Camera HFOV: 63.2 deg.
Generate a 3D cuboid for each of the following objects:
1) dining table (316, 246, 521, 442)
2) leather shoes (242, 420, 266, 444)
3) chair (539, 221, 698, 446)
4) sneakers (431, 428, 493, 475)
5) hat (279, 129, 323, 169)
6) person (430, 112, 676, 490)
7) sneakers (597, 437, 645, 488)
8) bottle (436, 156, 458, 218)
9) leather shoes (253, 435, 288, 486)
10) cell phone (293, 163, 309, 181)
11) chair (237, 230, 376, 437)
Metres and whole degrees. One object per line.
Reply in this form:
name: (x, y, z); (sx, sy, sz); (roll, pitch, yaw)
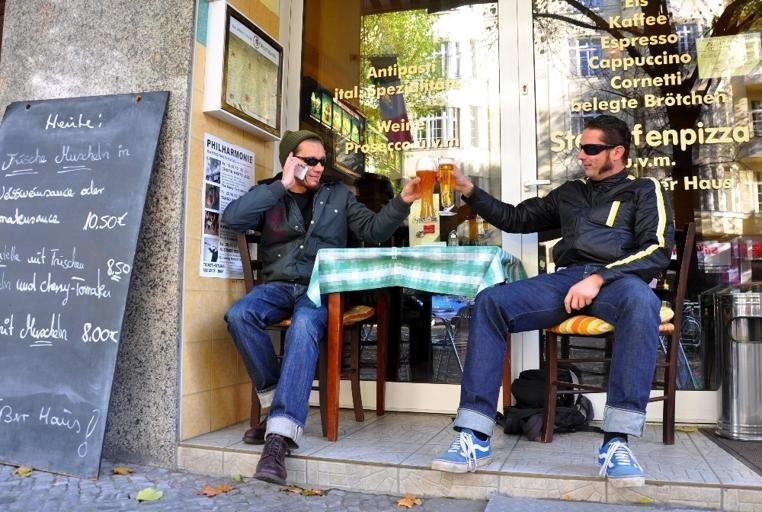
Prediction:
dining table: (0.171, 0.436, 3.628); (0.936, 0.742, 0.956); (-1, 1, 20)
leather shoes: (-0.727, 1.034, 3.615); (0.180, 0.119, 0.083); (6, -8, -8)
chair: (1.449, 0.350, 3.870); (0.943, 1.371, 0.870); (-4, 20, 16)
sneakers: (0.426, 1.013, 3.206); (0.221, 0.196, 0.434); (-9, -12, 43)
hat: (-0.538, -0.686, 3.989); (0.254, 0.209, 0.195); (-19, -16, 34)
person: (0.959, 0.152, 3.448); (1.197, 1.877, 1.164); (0, 6, 25)
sneakers: (1.205, 1.014, 3.118); (0.191, 0.168, 0.415); (-3, 0, 17)
bottle: (0.365, -0.434, 3.591); (0.139, 0.276, 0.136); (3, 9, 0)
leather shoes: (-0.576, 1.060, 3.239); (0.148, 0.212, 0.209); (-2, 6, 1)
cell phone: (-0.505, -0.520, 3.824); (0.087, 0.087, 0.029); (28, 7, -2)
chair: (-0.349, 0.517, 4.528); (1.133, 1.747, 1.024); (-2, -5, 18)
